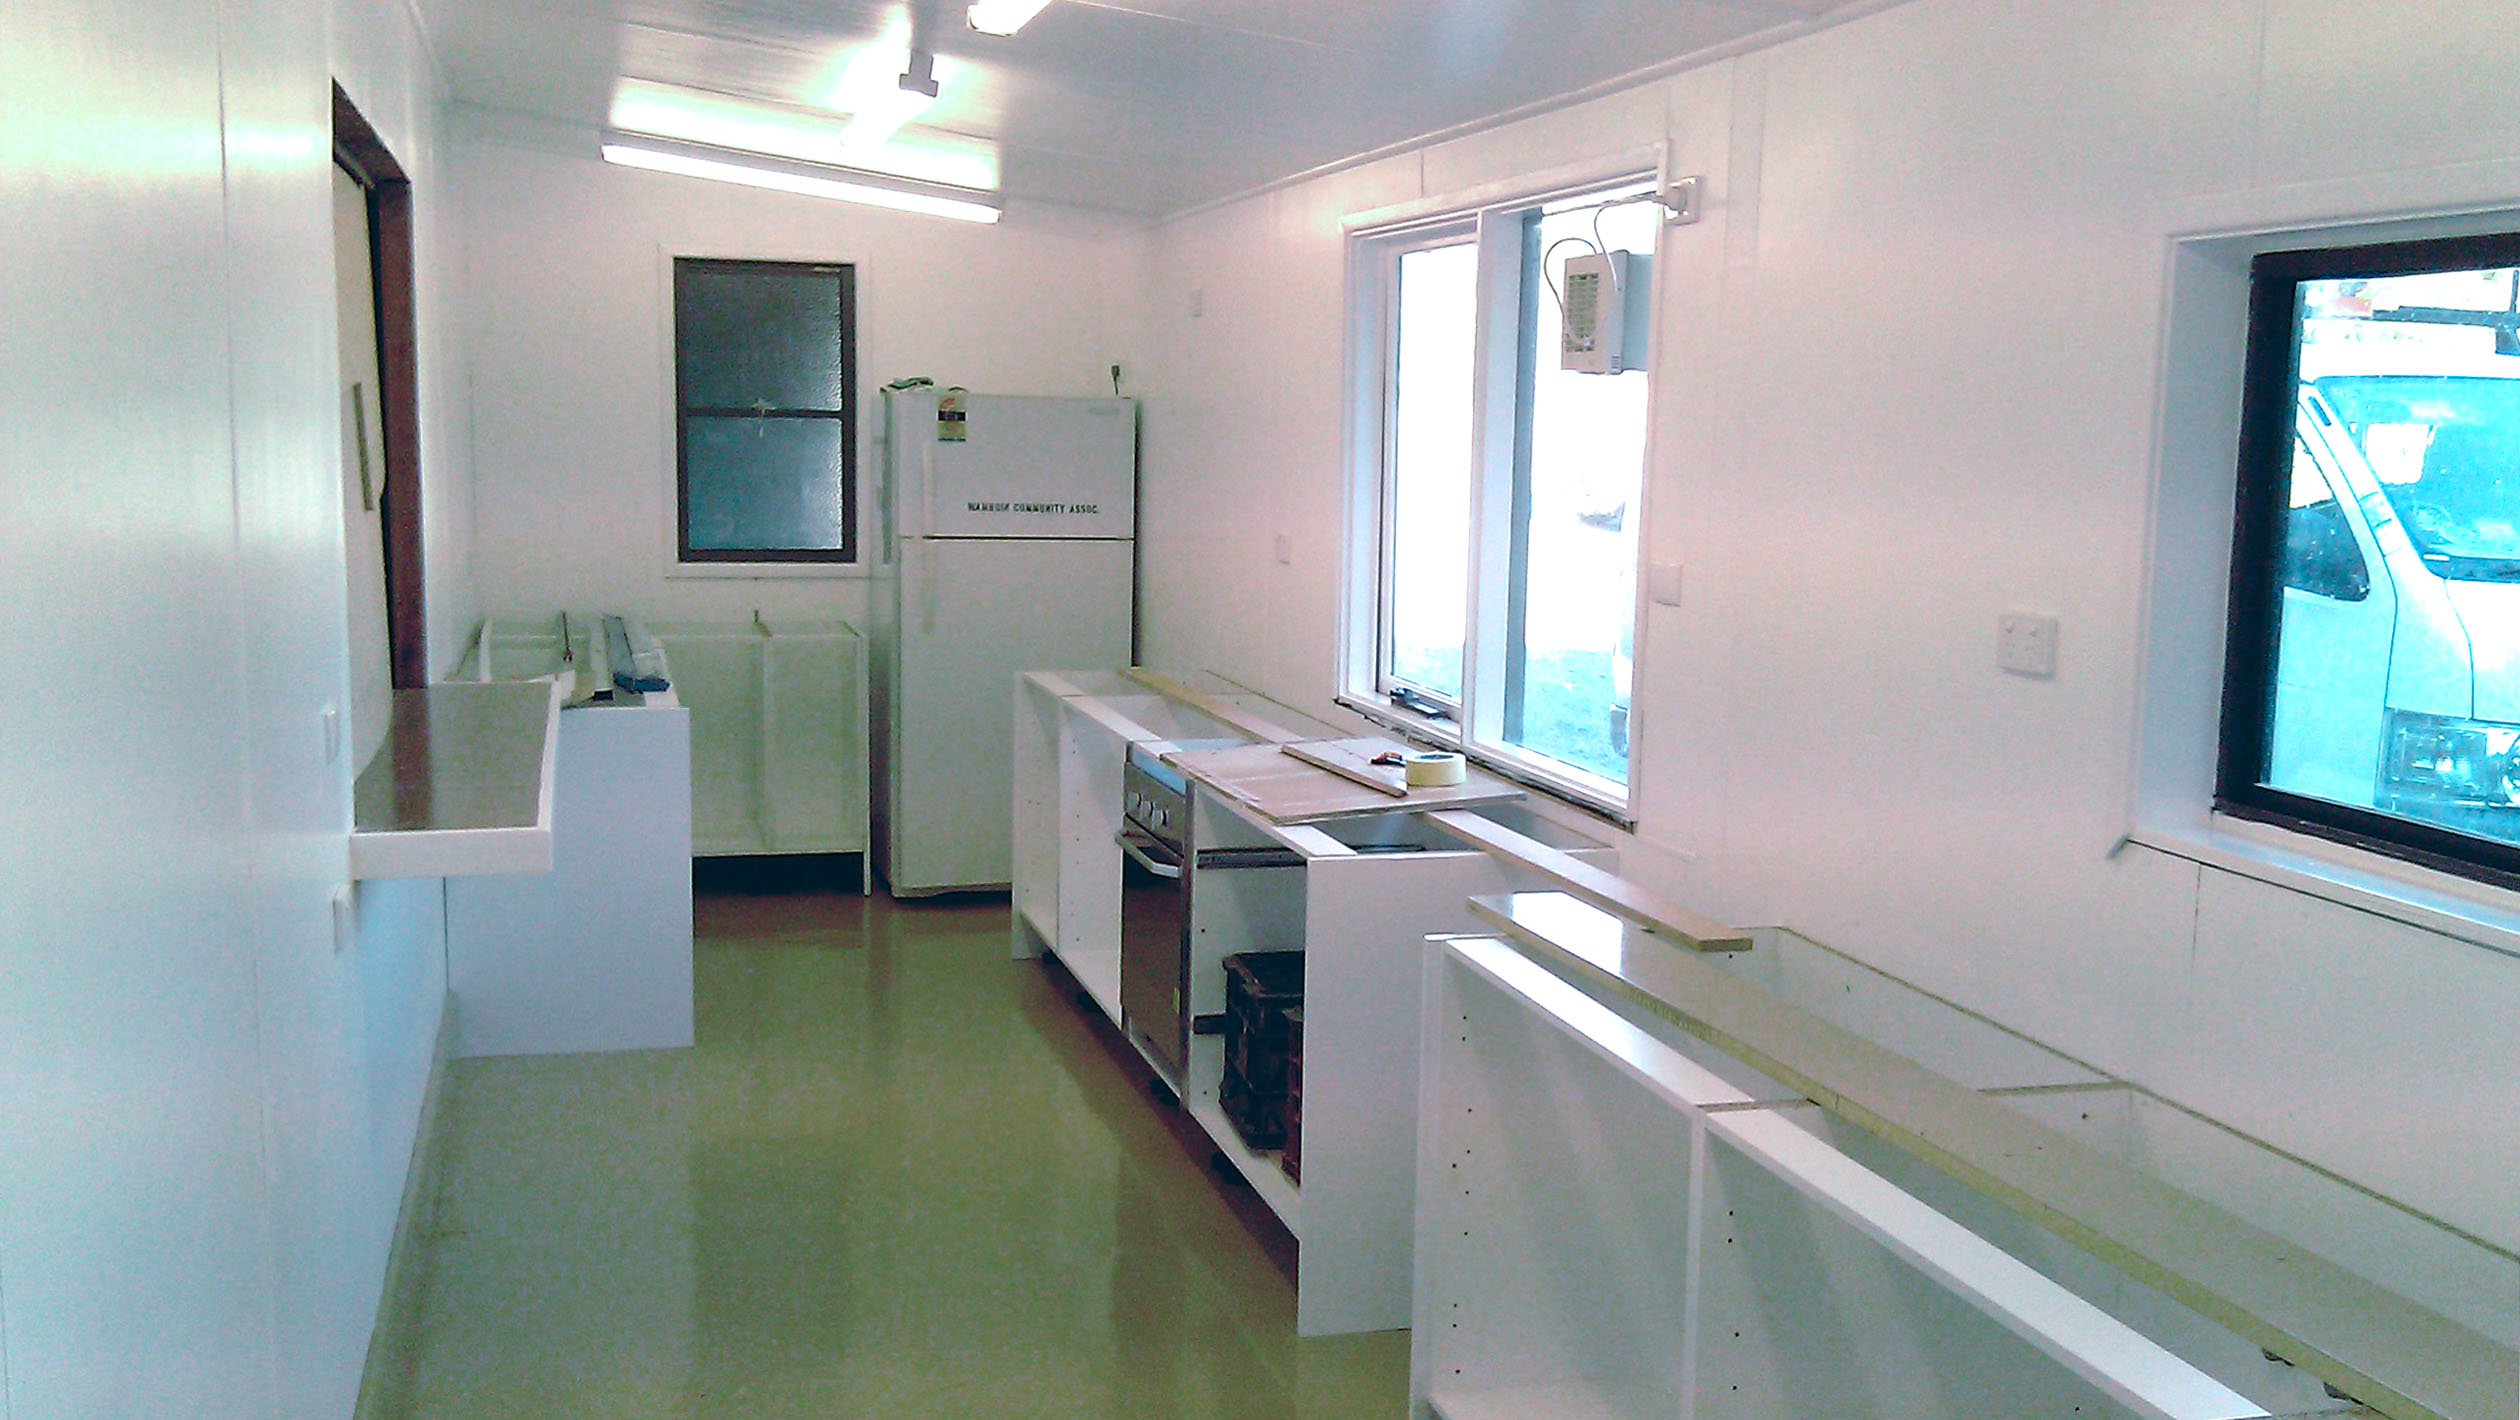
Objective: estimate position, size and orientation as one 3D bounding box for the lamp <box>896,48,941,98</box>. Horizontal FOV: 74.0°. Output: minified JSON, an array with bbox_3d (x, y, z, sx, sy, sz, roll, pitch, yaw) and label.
[{"bbox_3d":[-1.094,-2.065,5.388,0.110,0.129,0.103,-4,26,-21],"label":"lamp"}]

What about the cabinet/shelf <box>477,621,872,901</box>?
[{"bbox_3d":[-2.238,0.211,7.588,0.856,1.197,0.456,-2,11,-17],"label":"cabinet/shelf"}]

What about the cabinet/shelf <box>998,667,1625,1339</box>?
[{"bbox_3d":[0.168,0.834,4.652,0.629,0.673,1.825,-2,12,-17],"label":"cabinet/shelf"}]

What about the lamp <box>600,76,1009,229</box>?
[{"bbox_3d":[-1.826,-2.264,6.736,1.620,0.329,0.985,-1,10,-12],"label":"lamp"}]
